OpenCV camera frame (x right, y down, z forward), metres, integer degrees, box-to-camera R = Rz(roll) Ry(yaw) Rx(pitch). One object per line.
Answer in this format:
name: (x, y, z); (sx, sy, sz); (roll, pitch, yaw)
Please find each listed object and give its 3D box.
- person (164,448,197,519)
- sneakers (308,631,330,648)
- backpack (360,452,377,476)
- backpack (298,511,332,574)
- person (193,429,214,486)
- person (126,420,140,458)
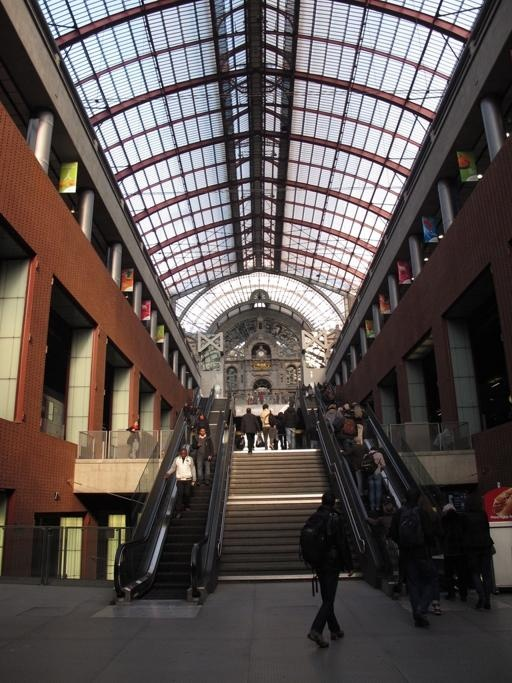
person: (-1.827, 3.560, 9.841); (0.596, 1.559, 0.647); (2, -19, -10)
sneakers: (0.498, 2.399, 3.188); (0.121, 0.110, 0.303); (-29, -38, -2)
backpack: (2.693, 3.042, 9.651); (0.277, 0.498, 0.332); (38, -50, -18)
backpack: (0.479, 1.770, 3.465); (0.193, 0.478, 0.330); (10, -23, -31)
person: (-1.568, 3.411, 11.812); (0.551, 1.740, 1.352); (2, -20, -9)
person: (-3.969, 3.431, 12.947); (0.411, 0.905, 0.181); (5, -19, -18)
